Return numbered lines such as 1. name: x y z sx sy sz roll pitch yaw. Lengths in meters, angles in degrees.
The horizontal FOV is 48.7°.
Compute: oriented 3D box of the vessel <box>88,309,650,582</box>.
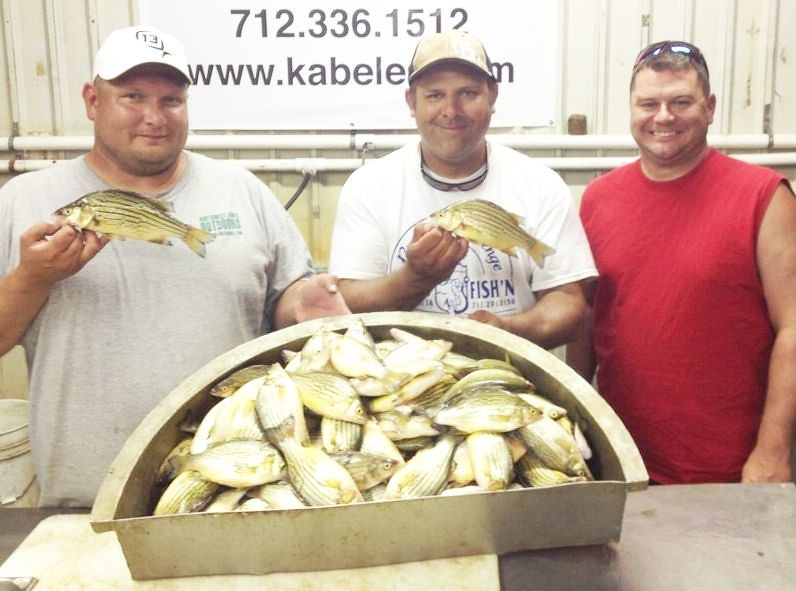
1. vessel: -0.130 0.505 2.873 1.705 0.616 0.757 -5 13 -12
